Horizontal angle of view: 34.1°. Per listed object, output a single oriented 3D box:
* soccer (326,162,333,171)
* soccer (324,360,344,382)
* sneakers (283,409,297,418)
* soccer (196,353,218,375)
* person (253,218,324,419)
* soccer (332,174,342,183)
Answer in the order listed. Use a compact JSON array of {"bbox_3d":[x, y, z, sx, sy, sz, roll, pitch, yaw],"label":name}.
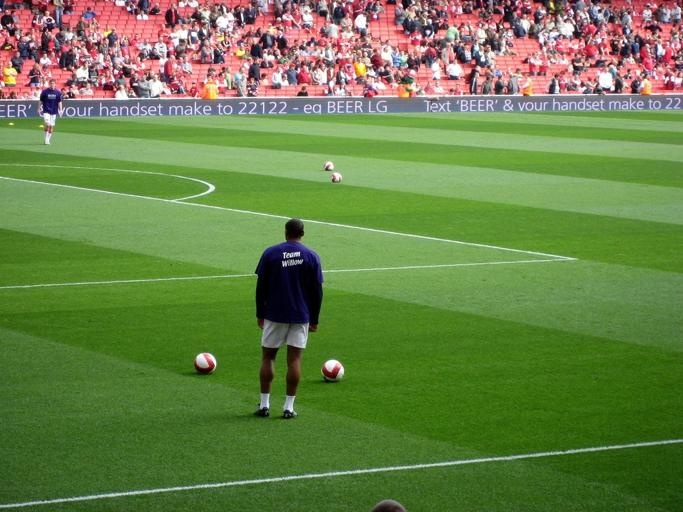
[{"bbox_3d":[-0.318,-2.352,29.145,0.200,0.194,0.206,11,8,43],"label":"soccer"},{"bbox_3d":[-0.087,1.350,13.422,0.276,0.252,0.348,0,14,-1],"label":"soccer"},{"bbox_3d":[-0.560,1.734,12.321,0.063,0.069,0.171,4,4,27],"label":"sneakers"},{"bbox_3d":[-1.621,1.296,13.563,0.255,0.239,0.245,9,-5,-32],"label":"soccer"},{"bbox_3d":[-0.579,0.710,12.127,0.654,2.144,0.508,-11,19,-38],"label":"person"},{"bbox_3d":[-0.103,-1.932,27.310,0.237,0.220,0.467,0,14,-3],"label":"soccer"}]
